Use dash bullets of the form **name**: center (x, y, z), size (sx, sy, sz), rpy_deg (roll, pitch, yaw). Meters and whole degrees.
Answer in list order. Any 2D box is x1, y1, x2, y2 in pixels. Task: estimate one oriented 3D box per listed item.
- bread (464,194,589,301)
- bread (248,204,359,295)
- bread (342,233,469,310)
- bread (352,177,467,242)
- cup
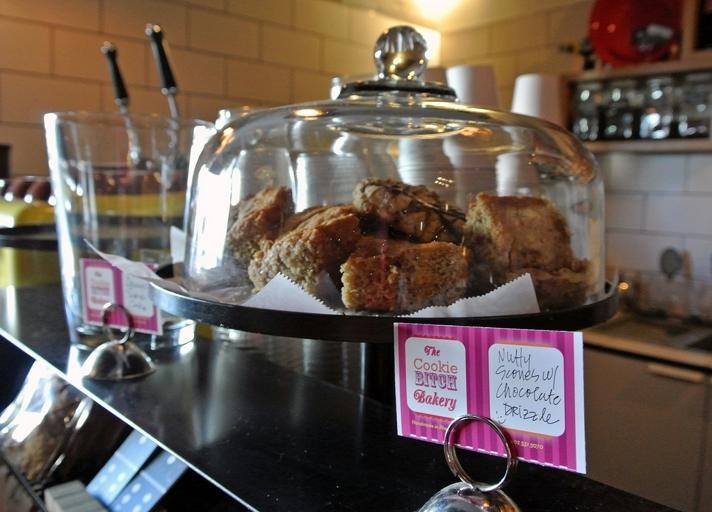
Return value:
- **bread**: center (0.193, -0.007, 0.694), size (0.146, 0.129, 0.046), rpy_deg (29, -33, -23)
- **bread**: center (-0.057, -0.026, 0.693), size (0.148, 0.042, 0.129), rpy_deg (-14, 22, 16)
- **bread**: center (0.077, 0.020, 0.693), size (0.147, 0.063, 0.149), rpy_deg (-6, -2, 23)
- **bread**: center (0.063, -0.047, 0.683), size (0.108, 0.030, 0.075), rpy_deg (18, 2, 10)
- **cup**: center (-0.346, -0.040, 0.922), size (0.219, 0.380, 0.184), rpy_deg (-7, 10, -25)
